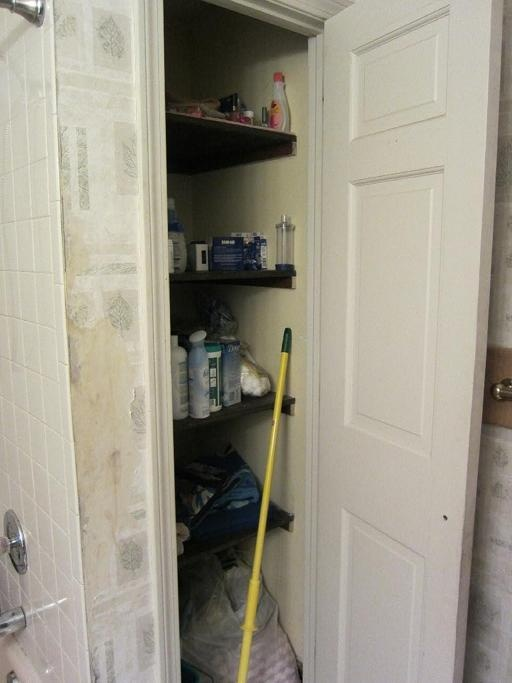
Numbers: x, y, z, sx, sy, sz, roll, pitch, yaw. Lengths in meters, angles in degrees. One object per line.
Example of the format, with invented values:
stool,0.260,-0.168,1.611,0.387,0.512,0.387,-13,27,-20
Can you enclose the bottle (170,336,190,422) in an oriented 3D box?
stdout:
bottle,-0.202,0.098,1.442,0.042,0.238,0.095,-2,9,-9

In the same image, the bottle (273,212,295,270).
bottle,0.072,-0.294,1.642,0.049,0.159,0.109,-5,10,-26

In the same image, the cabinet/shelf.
cabinet/shelf,-0.163,0.002,1.793,0.422,1.259,0.800,-5,10,-24
